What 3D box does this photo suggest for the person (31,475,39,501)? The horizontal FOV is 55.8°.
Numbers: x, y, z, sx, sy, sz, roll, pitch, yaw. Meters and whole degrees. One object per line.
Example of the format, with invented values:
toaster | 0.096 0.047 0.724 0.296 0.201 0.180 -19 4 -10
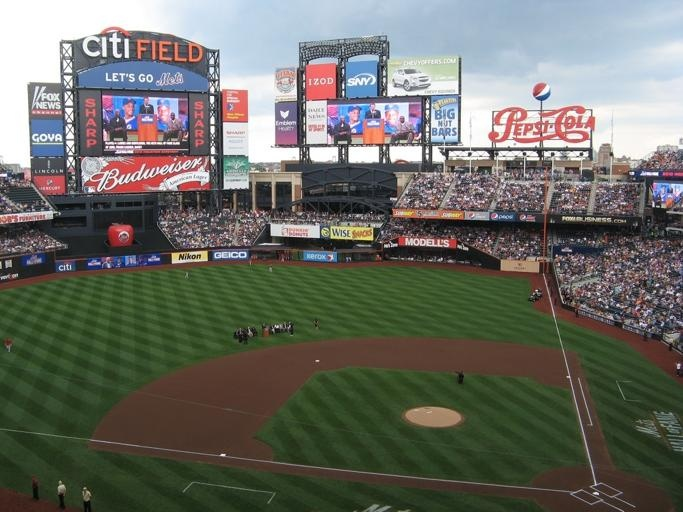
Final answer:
person | -14.026 10.412 29.388 0.297 0.970 0.809 -5 12 -26
